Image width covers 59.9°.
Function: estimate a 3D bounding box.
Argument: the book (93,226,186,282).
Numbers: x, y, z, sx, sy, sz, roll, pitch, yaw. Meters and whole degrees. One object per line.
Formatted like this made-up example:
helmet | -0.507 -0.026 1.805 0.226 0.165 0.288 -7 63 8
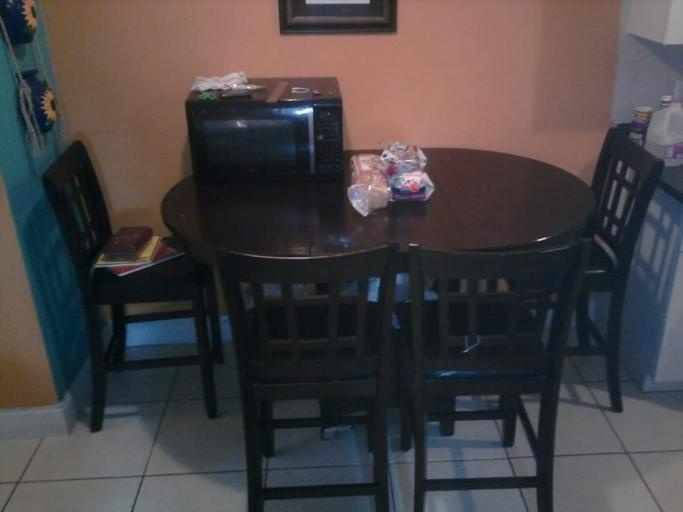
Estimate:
book | -0.867 -0.012 2.559 0.288 0.073 0.297 -4 34 0
